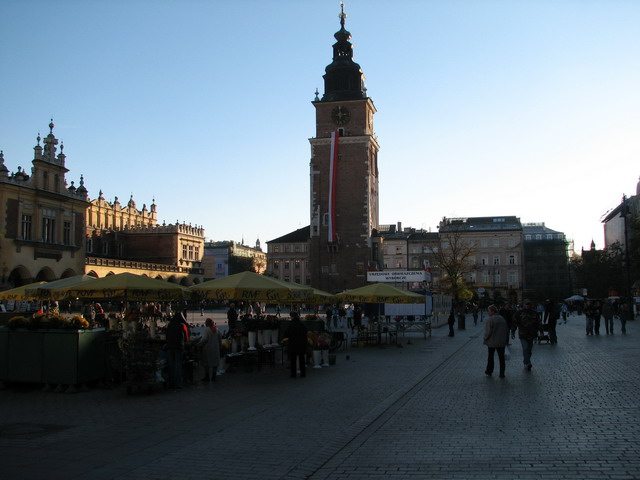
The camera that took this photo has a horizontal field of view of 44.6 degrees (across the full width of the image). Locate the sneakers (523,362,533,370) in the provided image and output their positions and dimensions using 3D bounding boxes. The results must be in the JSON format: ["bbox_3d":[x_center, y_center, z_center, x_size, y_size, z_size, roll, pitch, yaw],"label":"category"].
[{"bbox_3d":[5.827,3.508,21.706,0.164,0.216,0.213,3,-19,-11],"label":"sneakers"}]

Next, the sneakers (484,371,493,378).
[{"bbox_3d":[4.451,3.518,20.578,0.220,0.222,0.125,-3,-8,18],"label":"sneakers"}]

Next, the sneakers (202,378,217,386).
[{"bbox_3d":[-2.834,3.647,20.196,0.254,0.193,0.139,6,-14,-31],"label":"sneakers"}]

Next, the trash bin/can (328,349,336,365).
[{"bbox_3d":[0.374,3.697,24.826,0.273,0.349,0.484,0,-1,5],"label":"trash bin/can"}]
